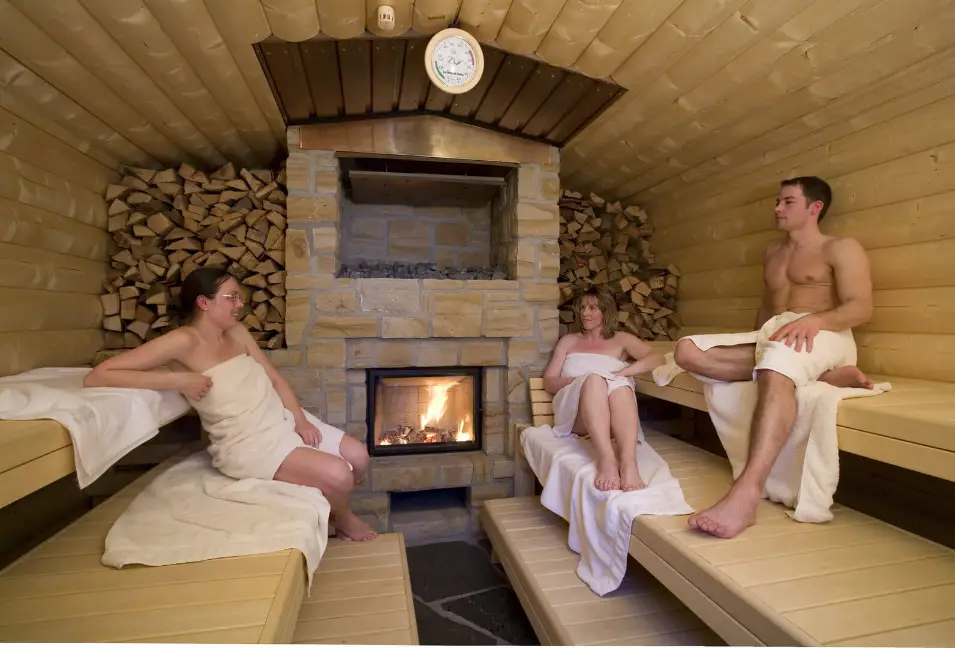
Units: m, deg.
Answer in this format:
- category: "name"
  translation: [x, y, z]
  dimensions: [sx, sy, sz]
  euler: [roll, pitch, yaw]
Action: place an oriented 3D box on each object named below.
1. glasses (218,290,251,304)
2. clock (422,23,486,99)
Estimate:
- category: "glasses"
  translation: [-1.192, -0.128, 2.870]
  dimensions: [0.143, 0.041, 0.110]
  euler: [2, 3, 27]
- category: "clock"
  translation: [-0.112, -1.192, 2.703]
  dimensions: [0.301, 0.253, 0.064]
  euler: [11, 17, -9]
